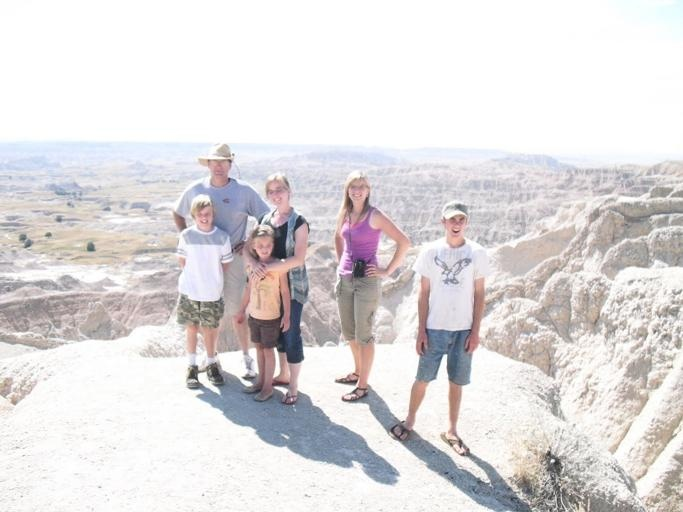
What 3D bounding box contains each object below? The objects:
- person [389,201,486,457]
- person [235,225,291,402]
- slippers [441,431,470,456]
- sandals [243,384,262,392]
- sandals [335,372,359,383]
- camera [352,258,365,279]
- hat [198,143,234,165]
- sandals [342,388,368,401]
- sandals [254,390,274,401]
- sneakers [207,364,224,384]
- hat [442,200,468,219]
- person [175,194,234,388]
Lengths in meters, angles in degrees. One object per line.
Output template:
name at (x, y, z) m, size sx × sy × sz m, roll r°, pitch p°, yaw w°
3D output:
person at (1.101, 0.785, 6.089) m, size 0.775 × 2.666 × 0.648 m, roll 5°, pitch 17°, yaw 15°
person at (-0.868, 0.646, 6.531) m, size 0.540 × 1.977 × 0.556 m, roll -2°, pitch 16°, yaw -10°
slippers at (1.238, 2.025, 6.213) m, size 0.160 × 0.077 × 0.302 m, roll -24°, pitch 43°, yaw -35°
sandals at (-1.045, 1.557, 6.739) m, size 0.228 × 0.087 × 0.092 m, roll 6°, pitch -1°, yaw -13°
sandals at (0.081, 1.554, 7.279) m, size 0.338 × 0.131 × 0.113 m, roll 3°, pitch 3°, yaw -5°
camera at (0.212, 0.148, 6.552) m, size 0.151 × 0.205 × 0.114 m, roll 6°, pitch 17°, yaw 16°
hat at (-1.507, -1.198, 6.793) m, size 0.436 × 0.293 × 0.411 m, roll 1°, pitch 16°, yaw 0°
sandals at (0.171, 1.639, 6.844) m, size 0.272 × 0.106 × 0.141 m, roll -1°, pitch 7°, yaw -29°
sandals at (-0.894, 1.607, 6.541) m, size 0.085 × 0.087 × 0.222 m, roll -2°, pitch -9°, yaw 17°
sneakers at (-1.497, 1.414, 6.823) m, size 0.130 × 0.126 × 0.348 m, roll -4°, pitch 11°, yaw -29°
hat at (1.201, -0.479, 6.013) m, size 0.267 × 0.191 × 0.240 m, roll 3°, pitch 16°, yaw 9°
person at (-1.605, 0.430, 6.734) m, size 0.661 × 2.224 × 0.747 m, roll -2°, pitch 16°, yaw -11°
